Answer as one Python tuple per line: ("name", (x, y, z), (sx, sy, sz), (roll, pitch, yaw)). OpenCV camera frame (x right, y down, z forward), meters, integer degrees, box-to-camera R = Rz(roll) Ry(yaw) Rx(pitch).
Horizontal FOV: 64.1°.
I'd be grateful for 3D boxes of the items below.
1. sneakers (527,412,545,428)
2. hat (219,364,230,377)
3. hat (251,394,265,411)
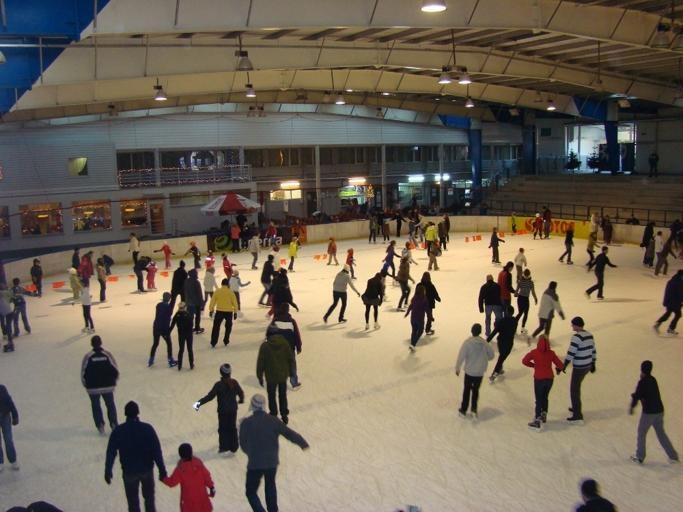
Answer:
("sneakers", (3.978, 3.298, 11.075), (0.406, 0.287, 0.258), (-3, 7, 1))
("hat", (-2.085, 2.053, 9.913), (0.195, 0.207, 0.221), (-4, 50, -27))
("hat", (-1.239, 2.140, 8.142), (0.178, 0.192, 0.236), (9, 25, -16))
